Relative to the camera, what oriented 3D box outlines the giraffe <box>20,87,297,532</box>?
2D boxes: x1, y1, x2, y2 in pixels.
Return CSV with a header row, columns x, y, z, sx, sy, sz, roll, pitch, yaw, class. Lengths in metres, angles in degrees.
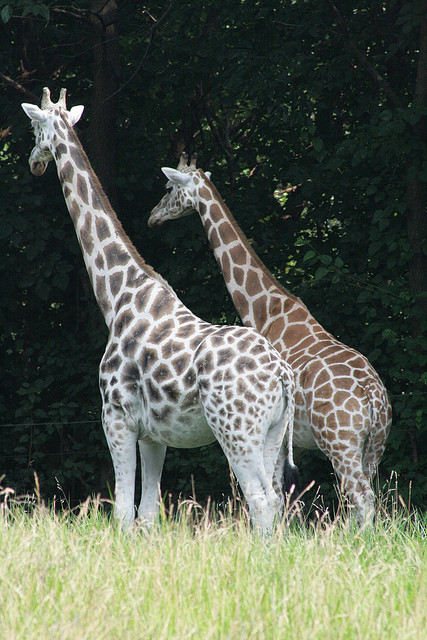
x,y,z,sx,sy,sz,roll,pitch,yaw,class
-0.280,-0.054,6.159,1.555,2.129,0.568,0,-5,42,giraffe
